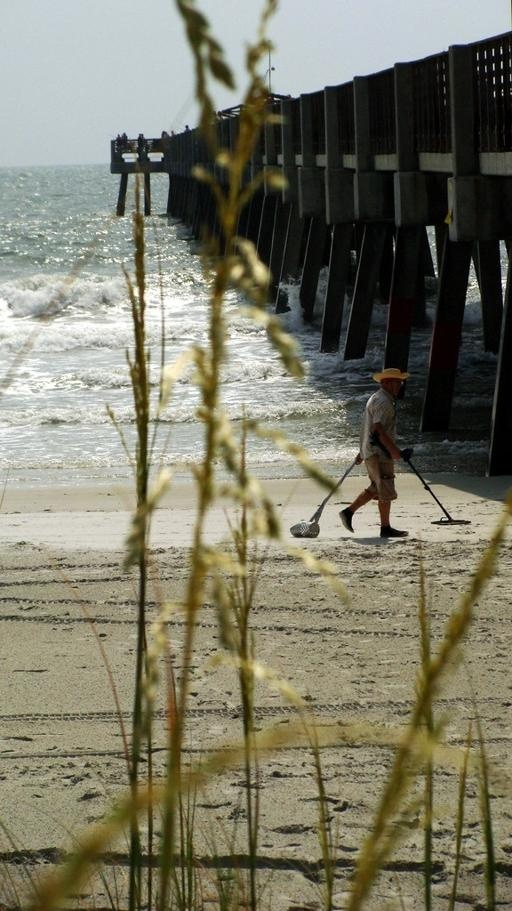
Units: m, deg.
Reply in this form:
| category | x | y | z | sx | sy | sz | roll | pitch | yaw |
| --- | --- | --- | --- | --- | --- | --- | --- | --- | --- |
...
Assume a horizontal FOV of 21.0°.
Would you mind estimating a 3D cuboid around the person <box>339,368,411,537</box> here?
| category | x | y | z | sx | sy | sz | roll | pitch | yaw |
| --- | --- | --- | --- | --- | --- | --- | --- | --- | --- |
| person | 0.736 | -0.005 | 8.456 | 0.407 | 1.048 | 0.662 | 3 | 10 | 3 |
